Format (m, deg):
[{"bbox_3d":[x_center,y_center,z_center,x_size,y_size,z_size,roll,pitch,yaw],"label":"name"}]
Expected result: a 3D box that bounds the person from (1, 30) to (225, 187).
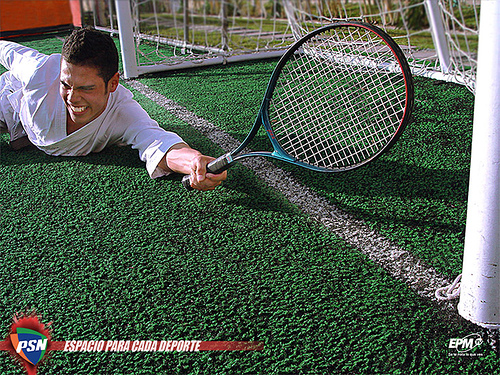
[{"bbox_3d":[-0.799,-0.413,1.906,1.582,0.651,0.383,8,22,30],"label":"person"}]
